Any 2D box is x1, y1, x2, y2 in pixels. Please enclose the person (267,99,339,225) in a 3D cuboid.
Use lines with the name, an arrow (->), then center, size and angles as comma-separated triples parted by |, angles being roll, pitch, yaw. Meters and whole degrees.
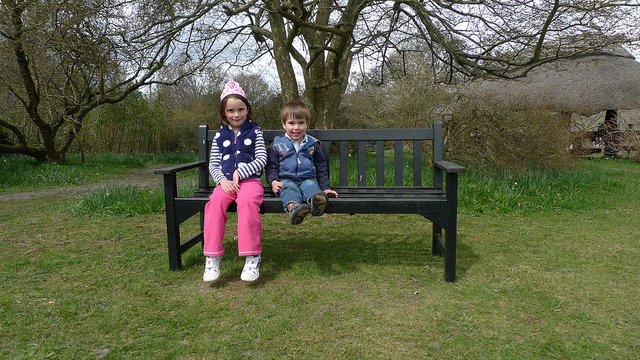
person -> -0.260, -0.324, 6.613 | 1.004, 1.866, 1.047 | -5, 7, -26

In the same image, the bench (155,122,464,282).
bench -> -0.087, 0.321, 7.624 | 4.742, 2.308, 1.716 | 0, -5, 9

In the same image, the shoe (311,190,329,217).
shoe -> -0.010, 0.330, 6.316 | 0.218, 0.387, 0.169 | 7, 17, -11

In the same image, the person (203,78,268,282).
person -> -1.309, -0.042, 6.499 | 0.956, 3.007, 0.866 | -2, 7, -1

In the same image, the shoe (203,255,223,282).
shoe -> -1.615, 1.340, 6.312 | 0.283, 0.409, 0.172 | -4, 7, -20

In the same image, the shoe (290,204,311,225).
shoe -> -0.299, 0.483, 6.197 | 0.186, 0.389, 0.166 | 3, 48, -27

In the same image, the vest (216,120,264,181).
vest -> -1.276, -0.435, 6.654 | 0.943, 1.140, 0.676 | -2, -6, -1
